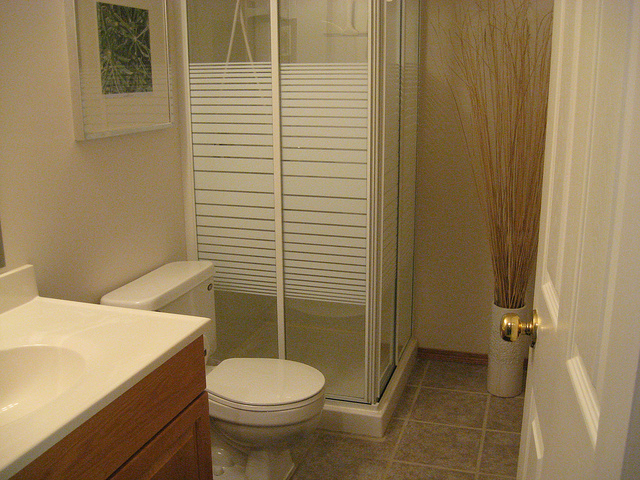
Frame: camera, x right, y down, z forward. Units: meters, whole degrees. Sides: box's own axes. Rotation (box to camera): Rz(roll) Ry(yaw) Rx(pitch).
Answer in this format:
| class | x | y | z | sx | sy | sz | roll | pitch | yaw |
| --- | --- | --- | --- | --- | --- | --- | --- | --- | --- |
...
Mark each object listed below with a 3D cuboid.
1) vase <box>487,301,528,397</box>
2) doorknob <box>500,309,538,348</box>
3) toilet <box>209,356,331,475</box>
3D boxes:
| class | x | y | z | sx | sy | sz | roll | pitch | yaw |
| --- | --- | --- | --- | --- | --- | --- | --- | --- | --- |
| vase | 1.036 | 0.593 | 2.822 | 0.212 | 0.521 | 0.358 | 7 | 20 | 19 |
| doorknob | 0.437 | 0.187 | 1.150 | 0.080 | 0.101 | 0.080 | 4 | 8 | 14 |
| toilet | -0.193 | 0.718 | 2.162 | 0.514 | 0.370 | 0.412 | 3 | 19 | 9 |
